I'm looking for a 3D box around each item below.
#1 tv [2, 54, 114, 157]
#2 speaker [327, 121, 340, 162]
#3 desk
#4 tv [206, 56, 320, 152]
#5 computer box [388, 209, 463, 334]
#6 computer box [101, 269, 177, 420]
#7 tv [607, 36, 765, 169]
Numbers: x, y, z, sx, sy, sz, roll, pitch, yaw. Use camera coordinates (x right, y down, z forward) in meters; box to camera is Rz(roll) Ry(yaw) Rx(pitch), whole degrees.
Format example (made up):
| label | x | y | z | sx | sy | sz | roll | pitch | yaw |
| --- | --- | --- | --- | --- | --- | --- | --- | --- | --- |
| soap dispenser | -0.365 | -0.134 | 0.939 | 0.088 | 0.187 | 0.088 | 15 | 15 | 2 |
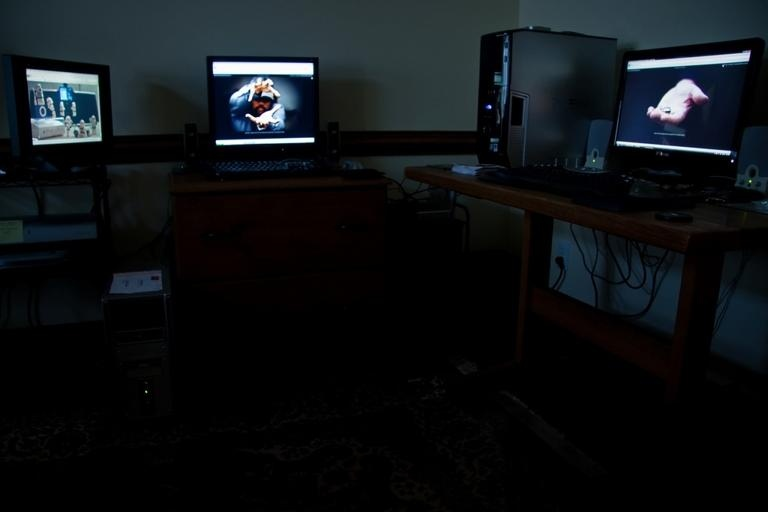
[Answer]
| label | x | y | z | sx | sy | sz | roll | pitch | yaw |
| --- | --- | --- | --- | --- | --- | --- | --- | --- | --- |
| tv | -1.499 | -0.688 | 2.708 | 0.177 | 0.440 | 0.522 | 14 | 18 | 30 |
| speaker | -0.302 | -0.686 | 3.464 | 0.080 | 0.216 | 0.191 | -4 | 21 | -5 |
| desk | 0.833 | 0.118 | 2.393 | 0.460 | 0.777 | 1.112 | -19 | 27 | -38 |
| tv | -0.669 | -0.843 | 3.184 | 0.515 | 0.392 | 0.067 | -3 | 12 | -14 |
| computer box | 0.223 | 0.074 | 3.271 | 0.390 | 0.723 | 0.432 | -1 | 22 | -11 |
| computer box | -1.062 | 0.370 | 2.584 | 0.286 | 0.446 | 0.557 | -9 | 23 | -20 |
| tv | 1.265 | -0.620 | 2.436 | 0.062 | 0.563 | 0.592 | -1 | 13 | -37 |
